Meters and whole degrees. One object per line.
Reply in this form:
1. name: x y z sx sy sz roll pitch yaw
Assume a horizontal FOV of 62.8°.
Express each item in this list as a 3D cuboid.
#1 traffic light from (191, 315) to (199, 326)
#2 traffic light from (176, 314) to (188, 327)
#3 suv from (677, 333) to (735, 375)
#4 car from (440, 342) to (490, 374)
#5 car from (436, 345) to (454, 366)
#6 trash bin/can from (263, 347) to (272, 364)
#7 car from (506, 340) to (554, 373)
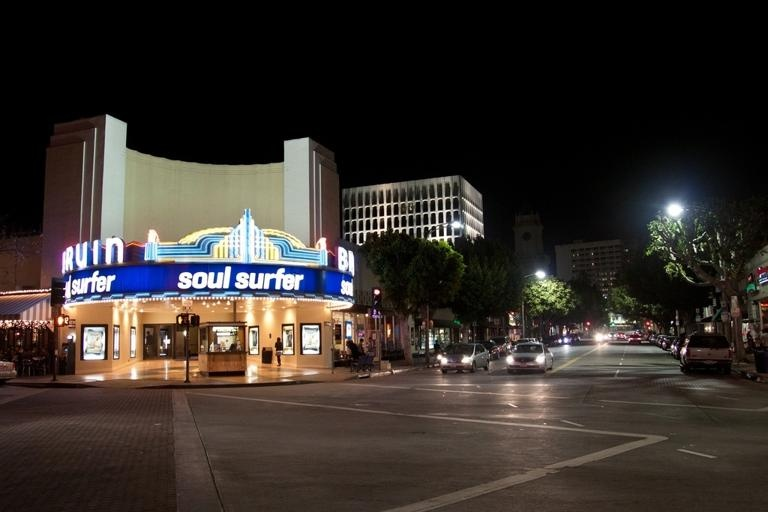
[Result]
1. traffic light: -9.916 3.364 32.953 0.362 0.483 1.221 1 -11 -9
2. traffic light: -10.582 3.388 32.970 0.412 0.616 1.755 3 -11 -22
3. suv: 18.019 5.369 35.011 1.671 1.570 3.130 -1 -3 11
4. car: 5.047 6.462 39.951 2.105 1.940 3.787 -5 -11 24
5. car: 3.856 6.282 39.898 1.261 1.068 2.234 -3 -13 6
6. trash bin/can: -8.792 7.554 47.268 0.699 1.079 0.505 0 -9 -6
7. car: 8.631 6.007 37.238 2.126 1.800 2.748 -5 -11 25
